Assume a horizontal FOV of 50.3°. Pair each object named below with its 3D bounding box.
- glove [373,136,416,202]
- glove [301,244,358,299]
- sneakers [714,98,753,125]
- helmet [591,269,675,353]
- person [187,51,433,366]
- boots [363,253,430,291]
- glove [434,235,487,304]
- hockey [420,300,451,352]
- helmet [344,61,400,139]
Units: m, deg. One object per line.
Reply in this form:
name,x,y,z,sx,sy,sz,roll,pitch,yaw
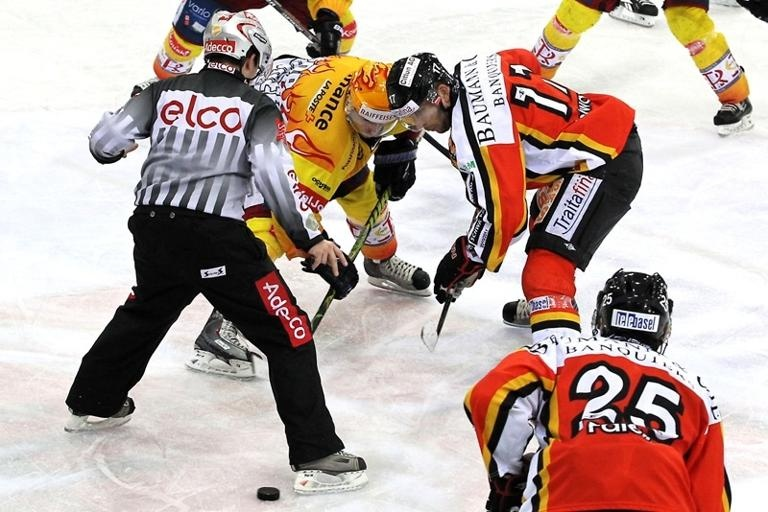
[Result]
glove,0.068,-0.584,5.451,0.192,0.365,0.314,6,-9,-6
glove,-0.299,0.099,4.875,0.304,0.131,0.283,44,68,-4
sneakers,2.847,-1.186,6.750,0.346,0.132,0.148,-30,24,-14
helmet,1.154,0.248,3.890,0.375,0.383,0.425,7,-5,7
person,-0.427,-0.256,4.662,1.281,1.778,1.191,9,60,-4
boots,0.184,0.141,5.723,0.632,0.326,0.171,6,62,10
glove,0.419,0.084,4.952,0.183,0.389,0.369,18,44,-20
hockey,0.318,0.444,5.126,0.139,0.383,0.030,15,44,4
helmet,-0.117,-0.920,4.870,0.405,0.384,0.409,-4,-9,-9
